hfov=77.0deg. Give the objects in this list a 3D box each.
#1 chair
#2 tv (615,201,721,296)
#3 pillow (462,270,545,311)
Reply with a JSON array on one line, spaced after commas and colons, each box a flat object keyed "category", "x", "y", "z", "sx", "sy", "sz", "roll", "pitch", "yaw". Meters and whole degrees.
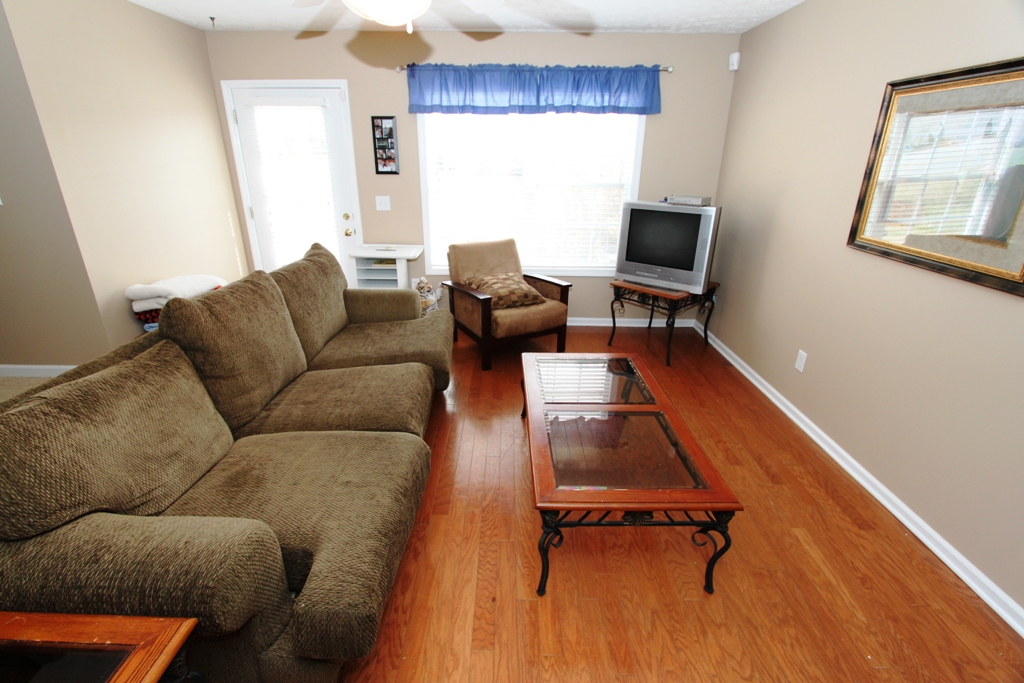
[{"category": "chair", "x": -0.117, "y": -0.407, "z": 5.526, "sx": 0.995, "sy": 1.093, "sz": 1.121, "roll": -10, "pitch": 21, "yaw": -28}, {"category": "tv", "x": 1.257, "y": -0.750, "z": 5.223, "sx": 0.656, "sy": 0.589, "sz": 0.342, "roll": 20, "pitch": 29, "yaw": 39}, {"category": "pillow", "x": -0.038, "y": -0.419, "z": 5.272, "sx": 0.406, "sy": 0.128, "sz": 0.390, "roll": -8, "pitch": 29, "yaw": -22}]
